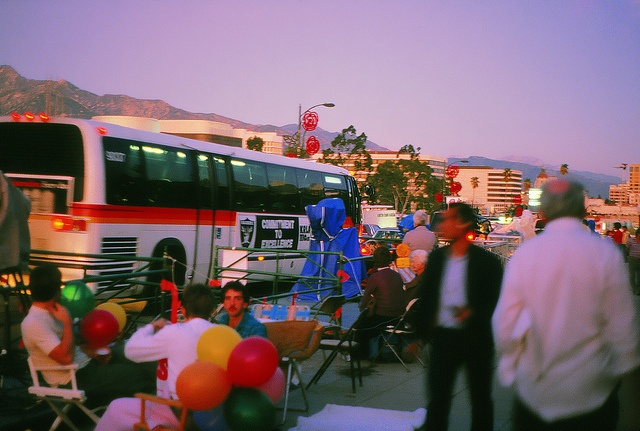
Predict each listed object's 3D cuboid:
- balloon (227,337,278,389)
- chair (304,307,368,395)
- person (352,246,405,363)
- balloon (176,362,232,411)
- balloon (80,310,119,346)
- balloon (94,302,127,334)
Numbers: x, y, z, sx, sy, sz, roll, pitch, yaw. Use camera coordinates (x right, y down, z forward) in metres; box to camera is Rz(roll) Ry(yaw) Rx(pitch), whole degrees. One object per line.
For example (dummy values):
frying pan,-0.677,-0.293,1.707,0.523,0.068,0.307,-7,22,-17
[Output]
balloon,-0.643,1.427,5.246,0.469,0.475,0.245,2,2,-9
chair,0.288,2.124,8.683,0.891,1.261,0.734,2,-11,5
person,1.011,1.561,9.504,0.618,1.976,1.123,5,3,42
balloon,-1.161,1.616,5.290,0.547,0.442,0.453,2,-24,-27
balloon,-2.789,1.424,6.957,0.438,0.475,0.424,4,10,-14
balloon,-2.892,1.347,7.460,0.426,0.417,0.495,-11,2,-9
